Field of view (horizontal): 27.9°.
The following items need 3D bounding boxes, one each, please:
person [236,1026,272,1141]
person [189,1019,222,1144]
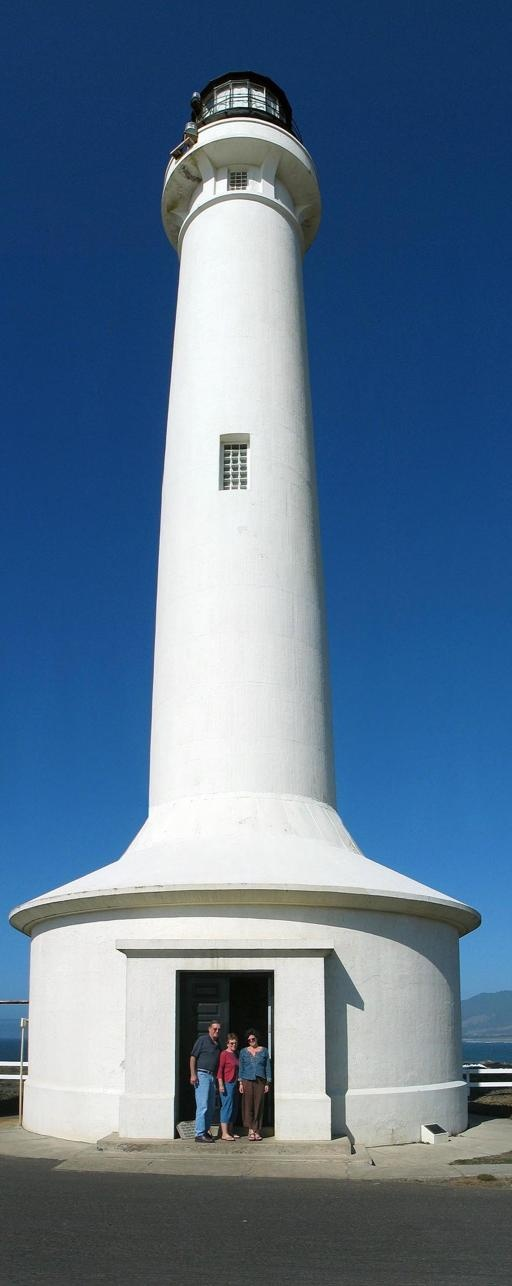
[{"bbox_3d":[-0.036,5.740,12.950,0.396,1.371,0.917,-1,6,5],"label":"person"},{"bbox_3d":[-0.647,5.523,12.670,0.351,1.356,0.754,-1,6,4],"label":"person"}]
